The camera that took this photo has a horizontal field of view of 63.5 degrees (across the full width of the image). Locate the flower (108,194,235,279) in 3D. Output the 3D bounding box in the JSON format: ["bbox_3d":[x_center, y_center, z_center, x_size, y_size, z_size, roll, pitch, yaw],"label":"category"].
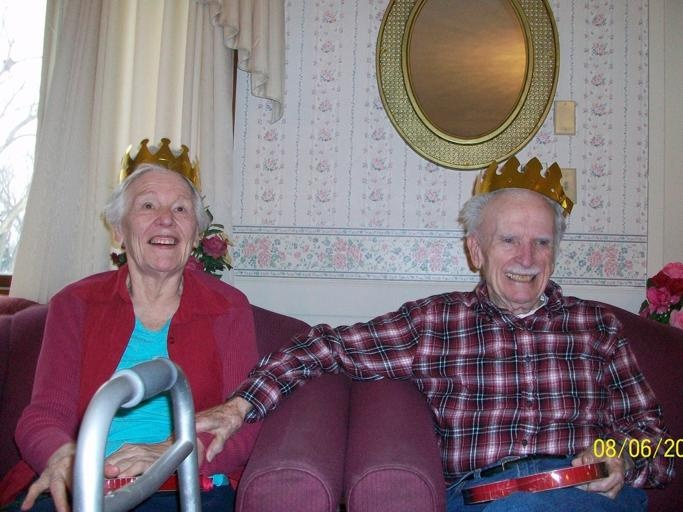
[{"bbox_3d":[-0.676,-0.060,2.373,0.334,0.380,0.214,-10,16,-4],"label":"flower"}]
